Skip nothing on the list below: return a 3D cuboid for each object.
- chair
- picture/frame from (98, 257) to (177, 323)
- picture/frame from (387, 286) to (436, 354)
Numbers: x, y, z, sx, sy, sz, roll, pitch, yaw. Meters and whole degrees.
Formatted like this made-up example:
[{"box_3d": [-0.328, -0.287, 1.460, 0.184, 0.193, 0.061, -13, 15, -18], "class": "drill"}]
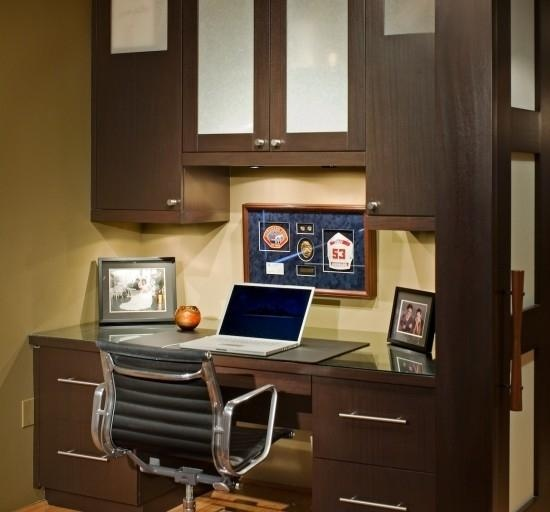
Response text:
[{"box_3d": [-0.336, 0.527, 1.895, 0.668, 0.502, 0.359, 0, 5, 11], "class": "chair"}, {"box_3d": [-0.707, 0.182, 2.780, 0.252, 0.285, 0.020, 0, -5, -10], "class": "picture/frame"}, {"box_3d": [0.541, 0.260, 2.169, 0.035, 0.266, 0.228, 9, -8, -25], "class": "picture/frame"}]
